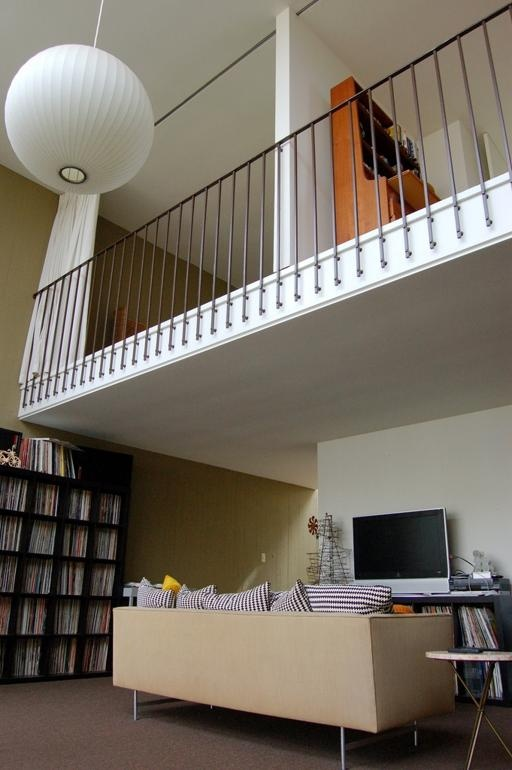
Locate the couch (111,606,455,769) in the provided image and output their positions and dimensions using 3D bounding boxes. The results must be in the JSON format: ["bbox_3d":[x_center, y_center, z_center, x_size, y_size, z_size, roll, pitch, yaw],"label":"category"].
[{"bbox_3d":[-0.080,1.126,1.966,1.699,0.462,0.768,-14,-20,33],"label":"couch"}]

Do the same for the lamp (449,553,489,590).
[{"bbox_3d":[1.617,1.420,3.518,0.294,0.254,0.463,-9,-18,24],"label":"lamp"}]
